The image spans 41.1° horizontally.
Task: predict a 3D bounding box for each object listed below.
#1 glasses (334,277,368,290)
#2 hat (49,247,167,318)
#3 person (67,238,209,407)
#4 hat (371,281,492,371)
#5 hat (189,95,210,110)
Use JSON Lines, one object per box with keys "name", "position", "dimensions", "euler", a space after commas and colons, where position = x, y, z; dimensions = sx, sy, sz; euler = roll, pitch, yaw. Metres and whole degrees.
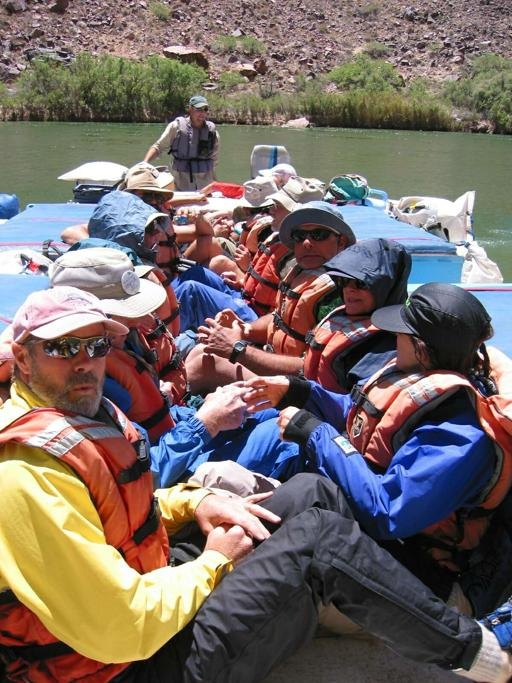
{"name": "glasses", "position": [0.490, -0.272, 3.387], "dimensions": [0.104, 0.025, 0.103], "euler": [6, 12, -44]}
{"name": "hat", "position": [-0.669, -0.285, 3.058], "dimensions": [0.471, 0.144, 0.335], "euler": [15, 28, 5]}
{"name": "person", "position": [-0.430, -0.160, 3.236], "dimensions": [0.689, 0.673, 0.576], "euler": [13, 25, -8]}
{"name": "hat", "position": [0.681, -0.052, 2.610], "dimensions": [0.434, 0.212, 0.288], "euler": [28, 38, 6]}
{"name": "hat", "position": [-0.774, -3.160, 9.069], "dimensions": [0.225, 0.136, 0.295], "euler": [-9, 1, -26]}
